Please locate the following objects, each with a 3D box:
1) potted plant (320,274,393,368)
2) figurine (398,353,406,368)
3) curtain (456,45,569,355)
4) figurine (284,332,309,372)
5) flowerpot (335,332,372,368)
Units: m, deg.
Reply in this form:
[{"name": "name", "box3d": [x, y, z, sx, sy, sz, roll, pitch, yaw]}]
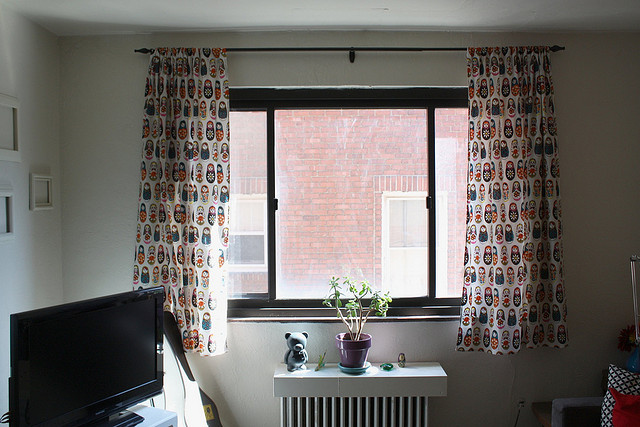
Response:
[{"name": "potted plant", "box3d": [0.247, 0.812, 4.463, 0.630, 0.838, 0.585, 3, -7, -24]}, {"name": "figurine", "box3d": [0.623, 1.135, 4.259, 0.049, 0.100, 0.023, 3, -12, 10]}, {"name": "curtain", "box3d": [1.467, -0.102, 4.260, 0.823, 2.377, 0.130, 0, 0, -4]}, {"name": "figurine", "box3d": [-0.167, 1.051, 4.246, 0.171, 0.296, 0.199, -1, -1, -2]}, {"name": "flowerpot", "box3d": [0.259, 1.058, 4.253, 0.285, 0.241, 0.288, 1, -5, -32]}]
